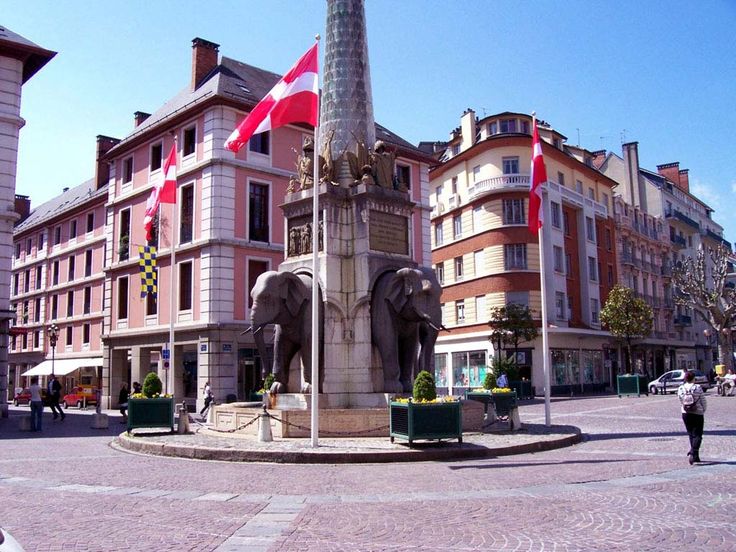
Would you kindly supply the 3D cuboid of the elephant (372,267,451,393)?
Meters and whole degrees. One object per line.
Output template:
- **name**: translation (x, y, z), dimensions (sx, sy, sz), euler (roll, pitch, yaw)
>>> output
- **elephant**: translation (1.046, 1.403, 17.848), dimensions (1.943, 3.468, 1.300), euler (-2, -10, 6)

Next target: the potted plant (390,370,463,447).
- **potted plant**: translation (1.404, 3.121, 16.014), dimensions (1.505, 2.187, 1.672), euler (2, -6, -16)

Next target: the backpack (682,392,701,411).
- **backpack**: translation (7.093, 2.746, 14.173), dimensions (0.226, 0.346, 0.308), euler (-11, -24, 38)

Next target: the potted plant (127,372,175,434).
- **potted plant**: translation (-6.710, 3.981, 19.958), dimensions (1.324, 1.953, 1.161), euler (2, -24, -19)

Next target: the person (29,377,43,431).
- **person**: translation (-12.553, 4.854, 24.492), dimensions (0.458, 1.809, 1.442), euler (4, -12, -27)

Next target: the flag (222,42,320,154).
- **flag**: translation (-2.404, -4.810, 17.325), dimensions (2.508, 2.240, 0.671), euler (-10, -14, 39)

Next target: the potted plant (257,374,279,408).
- **potted plant**: translation (-2.742, 3.198, 18.457), dimensions (0.423, 0.684, 0.482), euler (-18, 6, -9)

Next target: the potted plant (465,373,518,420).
- **potted plant**: translation (4.570, 4.206, 22.786), dimensions (1.492, 1.706, 1.507), euler (4, -8, -19)
